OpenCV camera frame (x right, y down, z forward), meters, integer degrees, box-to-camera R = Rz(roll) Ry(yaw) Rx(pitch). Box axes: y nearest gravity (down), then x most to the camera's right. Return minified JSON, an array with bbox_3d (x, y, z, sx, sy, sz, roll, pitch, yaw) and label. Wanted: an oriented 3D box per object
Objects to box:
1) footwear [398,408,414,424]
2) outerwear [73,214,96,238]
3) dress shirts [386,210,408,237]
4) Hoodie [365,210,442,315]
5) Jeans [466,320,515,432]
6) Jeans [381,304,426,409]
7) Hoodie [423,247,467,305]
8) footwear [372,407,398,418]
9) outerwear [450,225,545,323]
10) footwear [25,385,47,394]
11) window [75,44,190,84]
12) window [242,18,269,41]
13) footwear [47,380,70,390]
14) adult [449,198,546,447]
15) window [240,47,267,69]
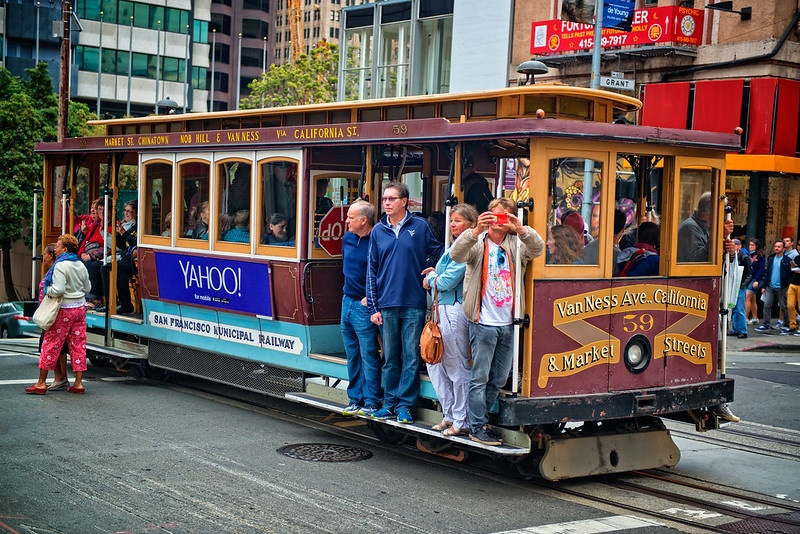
[{"bbox_3d":[0.106,2.102,14.217,0.136,0.123,0.276,3,-10,-14],"label":"footwear"},{"bbox_3d":[-6.203,-0.813,19.708,0.414,0.539,0.204,-3,-11,37],"label":"outerwear"},{"bbox_3d":[-0.021,-0.616,14.430,0.262,0.360,0.187,-4,-8,14],"label":"dress shirts"},{"bbox_3d":[0.064,-0.008,14.379,1.357,1.725,0.624,-2,-11,9],"label":"Hoodie"},{"bbox_3d":[1.234,1.402,13.595,0.629,1.558,0.510,11,-13,-38],"label":"Jeans"},{"bbox_3d":[0.040,1.296,14.460,0.632,1.732,0.464,4,3,18],"label":"Jeans"},{"bbox_3d":[0.623,0.167,13.899,0.612,0.908,0.907,1,-2,13],"label":"Hoodie"},{"bbox_3d":[-0.175,2.078,14.446,0.297,0.133,0.151,4,-4,-1],"label":"footwear"},{"bbox_3d":[1.298,0.035,13.539,1.192,1.284,0.764,1,-4,-5],"label":"outerwear"},{"bbox_3d":[-6.088,2.036,16.865,0.356,0.152,0.142,4,-5,10],"label":"footwear"},{"bbox_3d":[-17.699,-12.948,65.234,8.802,1.950,0.126,5,1,21],"label":"window"},{"bbox_3d":[-15.056,-24.905,105.928,2.137,1.327,2.114,3,10,4],"label":"window"},{"bbox_3d":[-5.819,2.005,17.126,0.333,0.133,0.122,-5,-3,-12],"label":"footwear"},{"bbox_3d":[1.256,0.784,13.473,1.097,3.083,0.664,4,11,11],"label":"adult"},{"bbox_3d":[-15.499,-21.884,105.734,2.001,1.265,2.057,4,5,38],"label":"window"}]
